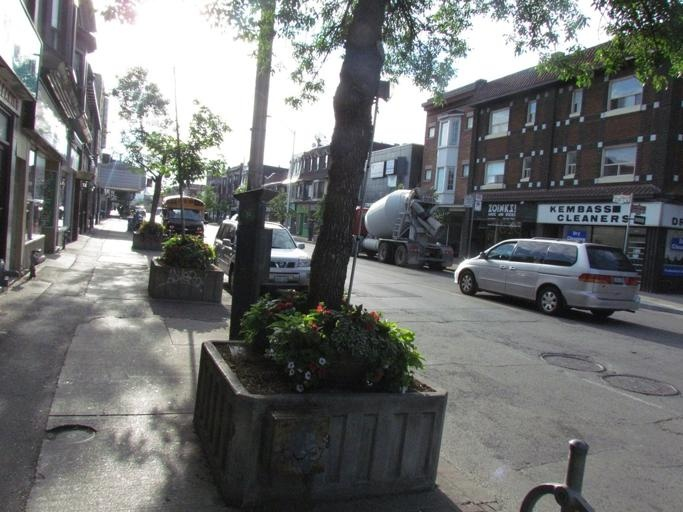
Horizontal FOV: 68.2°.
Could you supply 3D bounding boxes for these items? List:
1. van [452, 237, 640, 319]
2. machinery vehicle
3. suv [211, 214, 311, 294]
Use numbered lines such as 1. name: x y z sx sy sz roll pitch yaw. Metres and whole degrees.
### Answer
1. van: 5.440 0.465 14.031 2.021 1.650 4.709 5 4 -25
2. machinery vehicle: 2.781 -1.773 28.485 2.650 4.344 7.879 1 5 -25
3. suv: -2.151 -0.046 13.465 1.673 1.546 3.186 1 1 -25
